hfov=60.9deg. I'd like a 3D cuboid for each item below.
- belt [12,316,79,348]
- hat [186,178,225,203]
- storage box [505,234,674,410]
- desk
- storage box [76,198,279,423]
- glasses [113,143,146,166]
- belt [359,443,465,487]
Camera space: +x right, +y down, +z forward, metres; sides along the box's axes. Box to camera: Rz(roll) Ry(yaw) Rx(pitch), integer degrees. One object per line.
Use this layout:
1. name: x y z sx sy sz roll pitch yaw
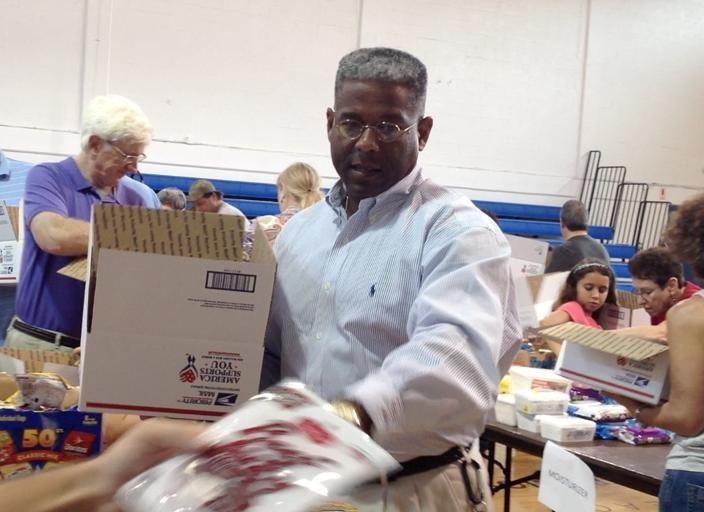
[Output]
1. belt: -1.067 0.271 2.078 0.142 0.040 0.129 20 -8 -7
2. hat: -1.309 -0.583 5.321 0.210 0.167 0.301 2 11 20
3. storage box: 1.036 0.271 2.296 0.601 0.399 0.567 16 1 -41
4. desk: 0.932 0.751 2.227 0.393 0.244 0.499 -3 7 -29
5. storage box: -0.362 0.124 1.496 0.498 0.465 0.466 10 1 -22
6. glasses: -0.835 -0.373 2.195 0.069 0.021 0.069 40 18 21
7. belt: 0.143 0.415 1.253 0.197 0.045 0.179 -18 -7 -13
